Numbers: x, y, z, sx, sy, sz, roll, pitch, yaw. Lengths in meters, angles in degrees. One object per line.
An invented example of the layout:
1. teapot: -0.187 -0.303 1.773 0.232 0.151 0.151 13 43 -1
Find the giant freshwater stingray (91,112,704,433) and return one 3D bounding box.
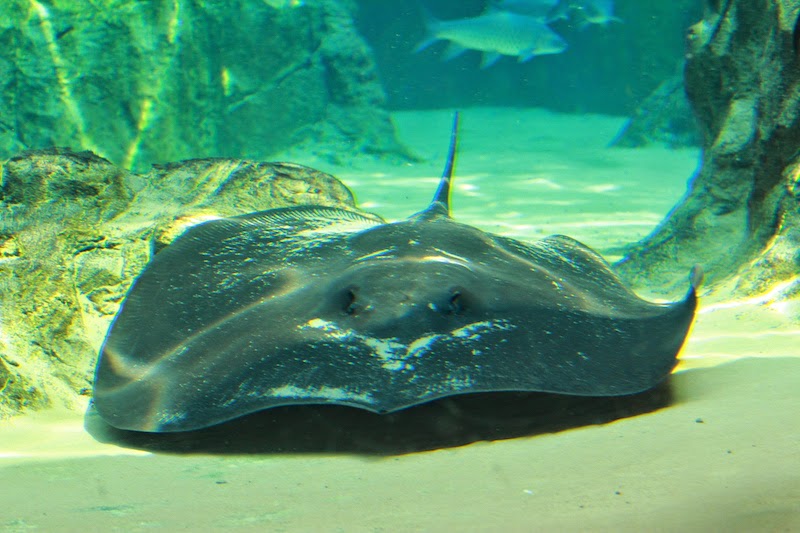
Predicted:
1. giant freshwater stingray: -0.362 0.350 7.198 3.980 0.460 2.435 -2 39 7
